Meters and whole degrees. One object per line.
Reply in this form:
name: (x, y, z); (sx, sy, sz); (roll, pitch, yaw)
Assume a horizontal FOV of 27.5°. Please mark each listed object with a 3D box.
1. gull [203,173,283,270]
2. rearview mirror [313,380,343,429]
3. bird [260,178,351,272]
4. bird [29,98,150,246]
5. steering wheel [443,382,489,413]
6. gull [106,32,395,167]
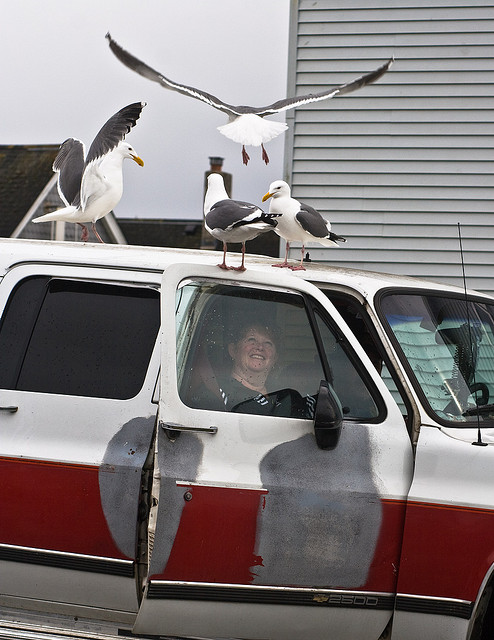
gull: (-0.062, -0.439, 4.198); (0.383, 0.596, 0.344); (1, 11, -8)
rearview mirror: (0.317, 0.314, 3.668); (0.068, 0.125, 0.131); (3, 8, 10)
bird: (0.277, -0.453, 4.858); (0.502, 0.411, 0.252); (1, 5, -36)
bird: (-0.826, -0.701, 5.109); (0.635, 0.679, 0.945); (-8, 7, -35)
steering wheel: (0.874, 0.305, 3.948); (0.068, 0.078, 0.324); (12, 12, 37)
gull: (-0.012, -1.122, 5.254); (0.635, 0.514, 1.651); (12, 12, 37)
